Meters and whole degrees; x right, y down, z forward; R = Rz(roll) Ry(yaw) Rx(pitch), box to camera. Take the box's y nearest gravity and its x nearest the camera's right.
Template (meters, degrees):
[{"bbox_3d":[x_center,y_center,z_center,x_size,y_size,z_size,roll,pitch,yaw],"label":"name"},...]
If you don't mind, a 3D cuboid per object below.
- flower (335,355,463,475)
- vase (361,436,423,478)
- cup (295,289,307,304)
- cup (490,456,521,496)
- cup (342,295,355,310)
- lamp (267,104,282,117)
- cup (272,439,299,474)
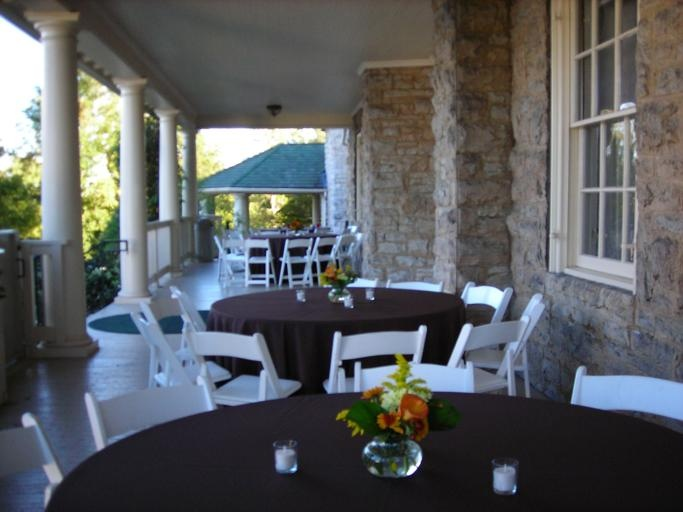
[{"bbox_3d":[0.170,0.510,1.774,0.276,0.373,0.401,8,12,19],"label":"flower"},{"bbox_3d":[0.164,0.642,1.818,0.191,0.137,0.192,4,-9,-33],"label":"vase"},{"bbox_3d":[-0.303,0.302,4.237,0.085,0.106,0.089,0,-1,0],"label":"cup"},{"bbox_3d":[0.490,0.659,1.717,0.087,0.106,0.086,-1,2,0],"label":"cup"},{"bbox_3d":[0.057,0.330,4.001,0.075,0.094,0.078,0,-1,0],"label":"cup"},{"bbox_3d":[-1.345,-2.989,11.329,0.292,0.276,0.296,-6,13,-26],"label":"lamp"},{"bbox_3d":[-0.180,0.645,1.811,0.079,0.099,0.081,-1,-6,0],"label":"cup"}]
